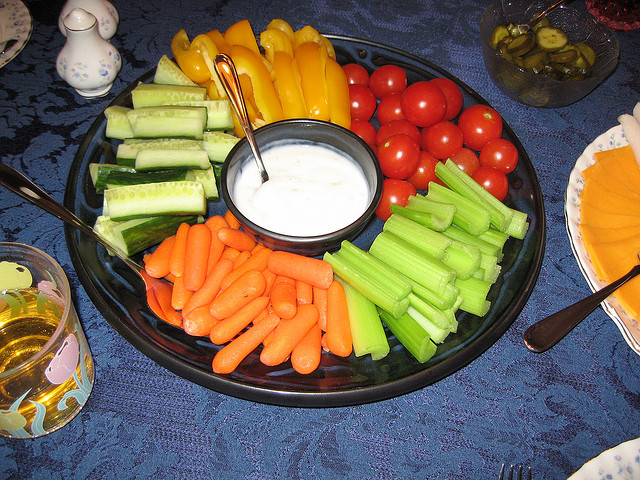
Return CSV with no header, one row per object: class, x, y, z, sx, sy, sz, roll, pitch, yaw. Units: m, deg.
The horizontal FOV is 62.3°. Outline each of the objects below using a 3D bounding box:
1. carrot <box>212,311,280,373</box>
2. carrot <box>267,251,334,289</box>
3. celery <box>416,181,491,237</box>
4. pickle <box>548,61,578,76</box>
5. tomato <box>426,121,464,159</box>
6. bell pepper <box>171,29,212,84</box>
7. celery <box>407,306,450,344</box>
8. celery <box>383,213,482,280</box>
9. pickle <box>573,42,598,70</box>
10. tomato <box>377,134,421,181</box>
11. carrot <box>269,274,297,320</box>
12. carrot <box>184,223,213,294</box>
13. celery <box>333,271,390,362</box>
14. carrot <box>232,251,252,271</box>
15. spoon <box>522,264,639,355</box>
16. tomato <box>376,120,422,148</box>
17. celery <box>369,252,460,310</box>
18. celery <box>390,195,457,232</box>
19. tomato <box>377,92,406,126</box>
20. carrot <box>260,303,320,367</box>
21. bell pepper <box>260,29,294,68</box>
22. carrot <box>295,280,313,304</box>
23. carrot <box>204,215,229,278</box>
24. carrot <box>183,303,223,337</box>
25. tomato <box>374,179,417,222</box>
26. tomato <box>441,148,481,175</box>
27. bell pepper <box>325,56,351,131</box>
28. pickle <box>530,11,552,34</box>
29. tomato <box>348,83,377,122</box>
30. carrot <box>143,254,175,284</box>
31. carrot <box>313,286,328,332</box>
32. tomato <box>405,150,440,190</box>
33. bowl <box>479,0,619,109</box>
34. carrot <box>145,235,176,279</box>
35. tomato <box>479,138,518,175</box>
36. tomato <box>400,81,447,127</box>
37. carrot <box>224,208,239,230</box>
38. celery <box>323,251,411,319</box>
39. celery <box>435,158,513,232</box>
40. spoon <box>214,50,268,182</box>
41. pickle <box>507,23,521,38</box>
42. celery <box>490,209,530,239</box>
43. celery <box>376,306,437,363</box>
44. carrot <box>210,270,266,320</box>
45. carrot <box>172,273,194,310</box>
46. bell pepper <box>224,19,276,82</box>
carrot,-0.345,0.473,2.439,0.114,0.111,0.413,33,66,24
carrot,-0.098,0.135,2.600,0.316,0.115,0.152,17,73,8
celery,0.740,-0.151,2.780,0.486,0.141,0.178,34,108,24
pickle,1.403,-0.988,3.070,0.116,0.032,0.032,33,22,3
tomato,0.672,-0.529,2.990,0.186,0.227,0.205,8,89,4
bell pepper,-0.741,-1.061,3.075,0.188,0.120,0.372,-13,83,6
celery,0.514,0.385,2.522,0.179,0.094,0.109,37,103,19
celery,0.581,0.029,2.680,0.524,0.178,0.191,37,24,20
pickle,1.600,-1.117,3.260,0.143,0.029,0.180,-16,79,-31
tomato,0.445,-0.450,2.952,0.207,0.239,0.242,0,28,19
carrot,-0.170,0.255,2.528,0.106,0.072,0.220,19,30,-19
carrot,-0.591,0.090,2.615,0.112,0.102,0.315,8,71,-8
celery,0.198,0.350,2.490,0.111,0.106,0.393,1,49,-25
carrot,-0.397,0.095,2.683,0.142,0.043,0.045,-49,42,-10
spoon,1.233,0.325,2.511,0.600,0.207,0.133,-28,70,-15
tomato,0.444,-0.618,2.973,0.171,0.099,0.173,-8,22,-15
celery,0.452,0.165,2.516,0.371,0.120,0.129,40,112,27
celery,0.519,-0.155,2.706,0.172,0.111,0.267,-34,49,-31
tomato,0.401,-0.753,3.068,0.153,0.161,0.200,-1,94,2
carrot,-0.137,0.429,2.471,0.140,0.114,0.335,10,55,47
bell pepper,-0.260,-1.136,3.104,0.165,0.233,0.066,-8,18,6
carrot,-0.079,0.258,2.579,0.057,0.040,0.127,-7,67,-3
carrot,-0.527,0.034,2.683,0.100,0.094,0.297,-4,75,39
carrot,-0.543,0.366,2.506,0.099,0.081,0.191,49,48,-2
tomato,0.414,-0.245,2.928,0.191,0.215,0.213,4,86,-26
tomato,0.828,-0.426,3.000,0.141,0.144,0.148,3,74,8
bell pepper,0.085,-0.816,2.994,0.166,0.108,0.364,1,87,-32
pickle,1.342,-1.335,3.288,0.149,0.159,0.041,-19,39,-27
tomato,0.240,-0.792,3.073,0.173,0.179,0.182,2,99,21
carrot,-0.784,0.150,2.664,0.095,0.205,0.067,-5,35,37
carrot,-0.002,0.326,2.529,0.083,0.060,0.193,-5,67,2
tomato,0.580,-0.388,3.042,0.185,0.196,0.186,2,38,5
bowl,1.360,-1.096,3.190,0.531,0.228,0.532,7,58,-12
carrot,-0.804,0.096,2.655,0.130,0.088,0.258,16,32,-4
tomato,0.958,-0.440,2.888,0.181,0.176,0.193,-2,94,1
tomato,0.587,-0.792,3.014,0.242,0.305,0.248,12,28,27
carrot,-0.459,-0.106,2.772,0.036,0.052,0.110,-36,96,-48
celery,0.205,0.217,2.604,0.172,0.176,0.540,-43,68,-3
celery,0.790,-0.258,2.844,0.183,0.156,0.567,-42,67,-9
spoon,-0.429,-0.651,2.839,0.084,0.066,0.795,-18,106,-7
pickle,1.179,-1.274,3.230,0.051,0.021,0.094,-34,58,19
celery,0.937,-0.077,2.666,0.190,0.120,0.080,21,30,1
celery,0.403,0.412,2.518,0.101,0.137,0.346,-19,45,-15
carrot,-0.379,0.256,2.534,0.312,0.124,0.129,-39,30,-12
carrot,-0.678,0.256,2.607,0.079,0.055,0.176,3,74,6
bell pepper,-0.364,-1.092,3.062,0.442,0.208,0.115,42,30,24
